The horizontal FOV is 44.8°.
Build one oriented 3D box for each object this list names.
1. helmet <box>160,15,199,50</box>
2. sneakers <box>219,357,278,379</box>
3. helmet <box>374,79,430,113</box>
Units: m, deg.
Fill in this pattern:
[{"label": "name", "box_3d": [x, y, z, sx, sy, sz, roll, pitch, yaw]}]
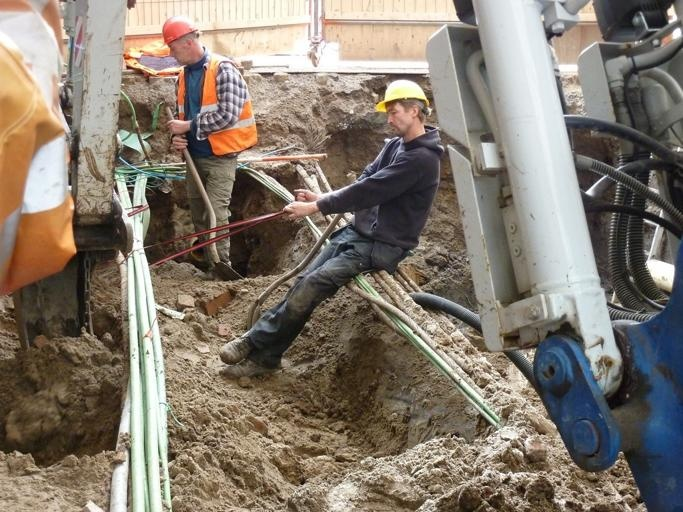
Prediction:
[{"label": "helmet", "box_3d": [-1.140, -1.570, 5.812, 0.226, 0.130, 0.184, -37, 41, -24]}, {"label": "sneakers", "box_3d": [-0.554, 0.680, 5.004, 0.358, 0.138, 0.122, 2, 8, -28]}, {"label": "helmet", "box_3d": [0.345, -0.980, 4.934, 0.309, 0.167, 0.234, -1, 5, 18]}]
